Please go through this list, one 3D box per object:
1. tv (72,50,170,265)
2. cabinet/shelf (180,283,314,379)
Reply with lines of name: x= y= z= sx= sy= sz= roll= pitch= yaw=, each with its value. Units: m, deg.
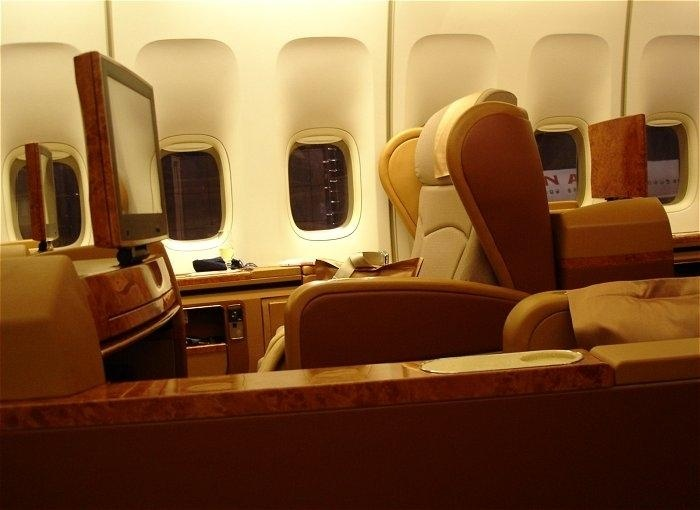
tv: x=-0.603 y=-0.247 z=1.509 sx=0.137 sy=0.511 sz=0.489 roll=-3 pitch=6 yaw=-11
cabinet/shelf: x=-0.630 y=0.538 z=3.295 sx=0.763 sy=0.768 sz=0.430 roll=-7 pitch=-3 yaw=0
